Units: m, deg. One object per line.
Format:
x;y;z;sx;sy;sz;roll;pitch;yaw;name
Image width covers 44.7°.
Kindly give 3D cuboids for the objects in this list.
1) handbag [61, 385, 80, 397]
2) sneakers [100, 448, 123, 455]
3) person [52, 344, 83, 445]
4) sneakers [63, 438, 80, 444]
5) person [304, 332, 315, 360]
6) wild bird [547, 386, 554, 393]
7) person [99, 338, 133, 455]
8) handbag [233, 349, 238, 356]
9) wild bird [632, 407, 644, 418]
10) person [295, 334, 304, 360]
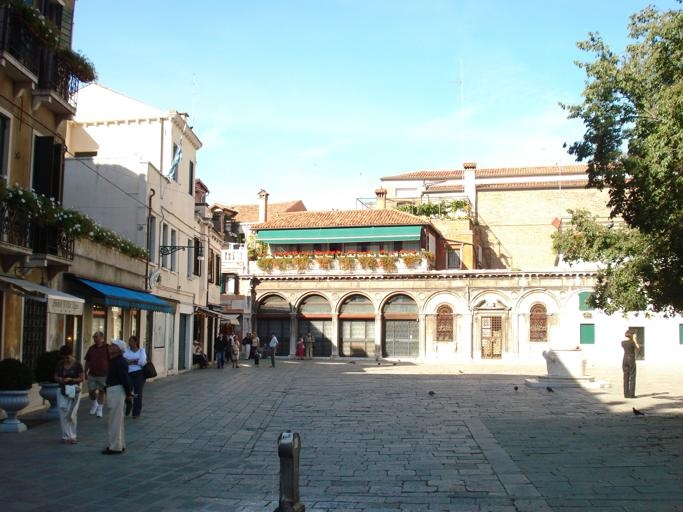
-5.740;2.868;17.703;0.243;0.106;0.247;1;-1;10;handbag
-4.699;3.994;16.949;0.375;0.163;0.140;7;-5;4;sneakers
-5.926;2.985;18.087;0.589;2.130;0.957;1;-11;-19;person
-5.755;3.923;17.697;0.308;0.134;0.115;-4;0;9;sneakers
-1.932;5.225;48.531;0.558;1.620;1.474;-2;-11;-3;person
6.798;4.366;27.174;0.116;0.157;0.391;5;3;-1;wild bird
-4.666;2.927;17.175;0.512;2.268;0.613;1;-11;-19;person
-5.030;4.530;39.157;0.304;0.205;0.397;0;-3;-12;handbag
7.596;4.044;21.475;0.453;0.278;0.161;4;-19;-42;wild bird
-2.473;5.352;48.978;0.514;1.381;1.237;-1;-11;-6;person
